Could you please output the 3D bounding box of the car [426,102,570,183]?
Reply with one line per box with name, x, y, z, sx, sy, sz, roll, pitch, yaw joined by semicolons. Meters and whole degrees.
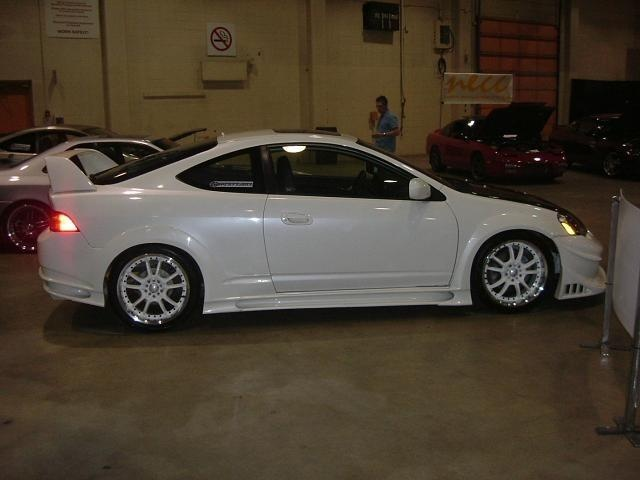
car;5.355;-2.933;15.063;1.894;2.091;4.428;-3;8;-19
